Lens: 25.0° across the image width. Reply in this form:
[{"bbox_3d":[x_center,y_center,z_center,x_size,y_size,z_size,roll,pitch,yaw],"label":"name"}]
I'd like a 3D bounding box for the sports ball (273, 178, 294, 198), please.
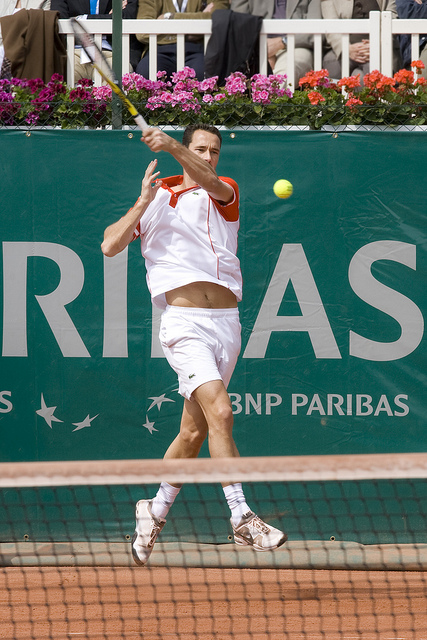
[{"bbox_3d":[0.356,-0.665,4.937,0.112,0.090,0.091,-17,57,-4],"label":"sports ball"}]

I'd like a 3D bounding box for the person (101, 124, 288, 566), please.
[{"bbox_3d":[-0.144,0.109,4.140,0.663,1.829,1.047,0,16,-6],"label":"person"}]

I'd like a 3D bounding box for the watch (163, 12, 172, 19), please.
[{"bbox_3d":[-0.322,-2.142,6.780,0.052,0.052,0.065,-2,23,-2],"label":"watch"}]
